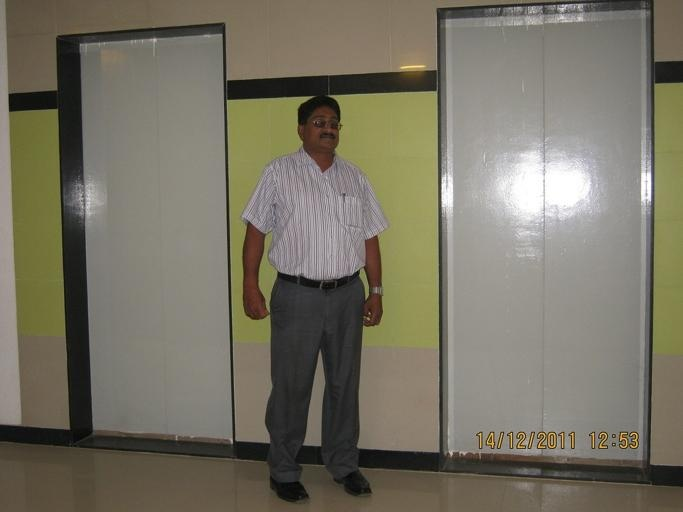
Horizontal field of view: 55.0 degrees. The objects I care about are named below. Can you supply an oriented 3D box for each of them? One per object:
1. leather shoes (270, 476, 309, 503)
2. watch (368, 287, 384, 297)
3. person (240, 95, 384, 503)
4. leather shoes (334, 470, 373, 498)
[{"bbox_3d":[-0.306,1.377,3.914,0.254,0.126,0.090,-1,-2,45],"label":"leather shoes"},{"bbox_3d":[0.218,0.217,4.040,0.064,0.053,0.072,-4,-10,38],"label":"watch"},{"bbox_3d":[-0.165,0.252,4.004,0.864,2.419,0.360,2,-3,1],"label":"person"},{"bbox_3d":[0.079,1.373,3.975,0.099,0.103,0.213,-1,5,-43],"label":"leather shoes"}]
